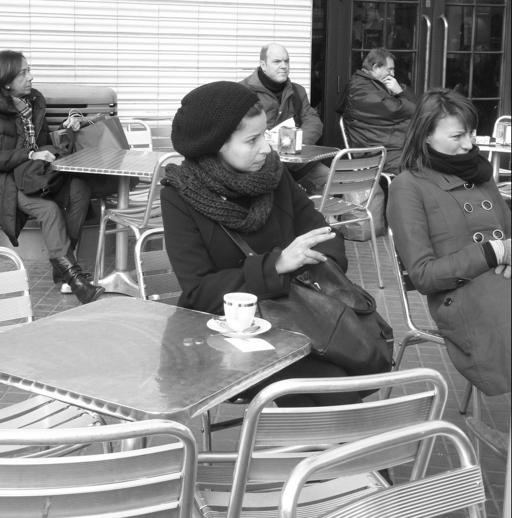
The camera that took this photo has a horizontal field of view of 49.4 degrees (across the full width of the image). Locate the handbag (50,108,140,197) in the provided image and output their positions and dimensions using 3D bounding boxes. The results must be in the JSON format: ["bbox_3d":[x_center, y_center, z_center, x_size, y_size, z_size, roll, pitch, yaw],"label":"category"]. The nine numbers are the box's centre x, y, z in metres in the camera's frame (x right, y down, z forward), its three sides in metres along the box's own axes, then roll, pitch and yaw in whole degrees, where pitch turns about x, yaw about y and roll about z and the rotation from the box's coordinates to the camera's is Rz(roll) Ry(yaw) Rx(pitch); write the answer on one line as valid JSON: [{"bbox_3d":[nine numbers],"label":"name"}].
[{"bbox_3d":[-1.414,-0.856,5.189,0.724,0.819,0.586,16,25,-2],"label":"handbag"}]

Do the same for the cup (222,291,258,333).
[{"bbox_3d":[-0.042,0.136,1.450,0.108,0.098,0.096,2,1,-2],"label":"cup"}]

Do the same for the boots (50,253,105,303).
[{"bbox_3d":[-1.391,0.140,4.347,0.517,0.325,0.176,15,43,38],"label":"boots"}]

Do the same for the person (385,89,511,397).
[{"bbox_3d":[0.790,-0.117,2.241,0.531,1.146,0.774,6,14,11],"label":"person"}]

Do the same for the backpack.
[{"bbox_3d":[-1.765,-0.729,4.588,0.363,0.131,0.330,8,32,15],"label":"backpack"}]
